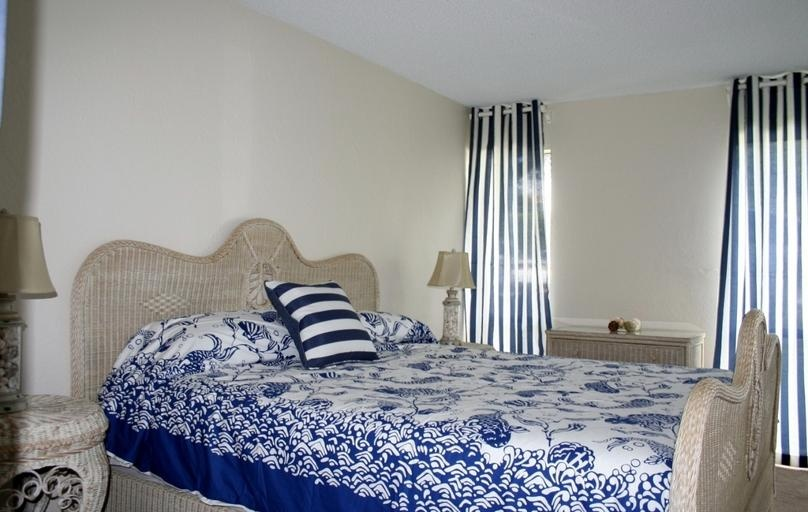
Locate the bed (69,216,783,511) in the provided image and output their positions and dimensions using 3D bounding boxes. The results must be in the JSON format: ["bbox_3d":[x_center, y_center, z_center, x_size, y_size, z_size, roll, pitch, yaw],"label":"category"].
[{"bbox_3d":[0.421,0.596,4.495,3.559,1.665,3.414,-1,-1,31],"label":"bed"}]
